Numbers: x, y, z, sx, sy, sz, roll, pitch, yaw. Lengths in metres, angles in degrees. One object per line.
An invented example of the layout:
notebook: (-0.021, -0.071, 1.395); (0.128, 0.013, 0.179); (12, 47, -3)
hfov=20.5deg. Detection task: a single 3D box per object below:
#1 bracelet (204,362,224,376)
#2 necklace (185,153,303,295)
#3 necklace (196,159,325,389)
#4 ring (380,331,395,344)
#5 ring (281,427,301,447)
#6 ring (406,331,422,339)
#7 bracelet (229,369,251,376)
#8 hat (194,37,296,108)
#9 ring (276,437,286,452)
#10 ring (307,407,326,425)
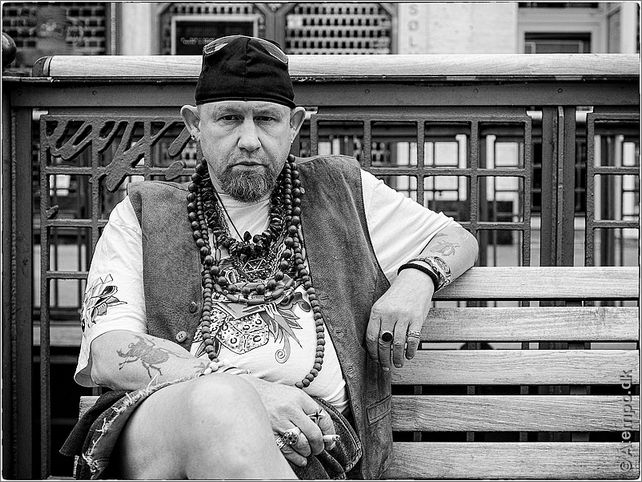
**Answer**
bracelet: (-0.566, 0.668, 9.340); (0.075, 0.022, 0.065); (-1, 34, 1)
necklace: (-0.399, -0.033, 9.763); (0.534, 0.736, 0.241); (-4, -11, -2)
necklace: (-0.348, 0.194, 9.515); (0.678, 1.127, 0.247); (-4, -14, -2)
ring: (0.349, 0.514, 9.505); (0.064, 0.064, 0.026); (0, -3, -15)
ring: (-0.161, 1.021, 9.271); (0.101, 0.095, 0.022); (0, -3, -4)
ring: (0.489, 0.500, 9.505); (0.063, 0.029, 0.067); (1, -1, 0)
bracelet: (-0.433, 0.692, 9.381); (0.073, 0.021, 0.048); (2, -7, 12)
hat: (-0.421, -0.909, 9.711); (0.482, 0.257, 0.432); (0, -6, -2)
ring: (-0.214, 1.055, 9.271); (0.072, 0.053, 0.017); (-5, 2, -5)
ring: (-0.034, 0.923, 9.362); (0.081, 0.074, 0.012); (-38, 35, -25)
